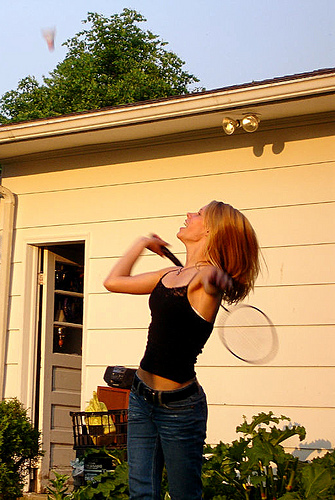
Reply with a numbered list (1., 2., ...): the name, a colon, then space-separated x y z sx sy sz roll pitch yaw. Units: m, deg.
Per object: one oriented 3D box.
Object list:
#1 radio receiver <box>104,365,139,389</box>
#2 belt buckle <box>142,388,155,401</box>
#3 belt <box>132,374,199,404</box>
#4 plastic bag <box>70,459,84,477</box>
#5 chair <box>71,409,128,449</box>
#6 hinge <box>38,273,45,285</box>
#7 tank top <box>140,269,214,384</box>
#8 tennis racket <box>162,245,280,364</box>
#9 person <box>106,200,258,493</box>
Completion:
1. radio receiver: -0.350 0.955 5.180 0.116 0.201 0.362 16 -24 -35
2. belt buckle: -0.074 0.556 2.627 0.045 0.037 0.012 1 -1 23
3. belt: -0.011 0.541 2.660 0.263 0.122 0.120 -1 -20 3
4. plastic bag: -0.586 1.417 4.447 0.087 0.100 0.140 3 -19 -6
5. chair: -0.461 1.192 4.562 0.404 0.203 0.265 1 -12 -5
6. hinge: -1.153 0.259 6.214 0.060 0.103 0.051 4 -20 -8
7. tank top: 0.040 0.305 2.728 0.242 0.393 0.243 1 1 28
8. tennis racket: 0.340 0.413 4.256 0.110 0.363 1.419 6 -25 49
9. person: 0.075 0.376 2.706 0.618 1.116 0.338 -17 -27 40
